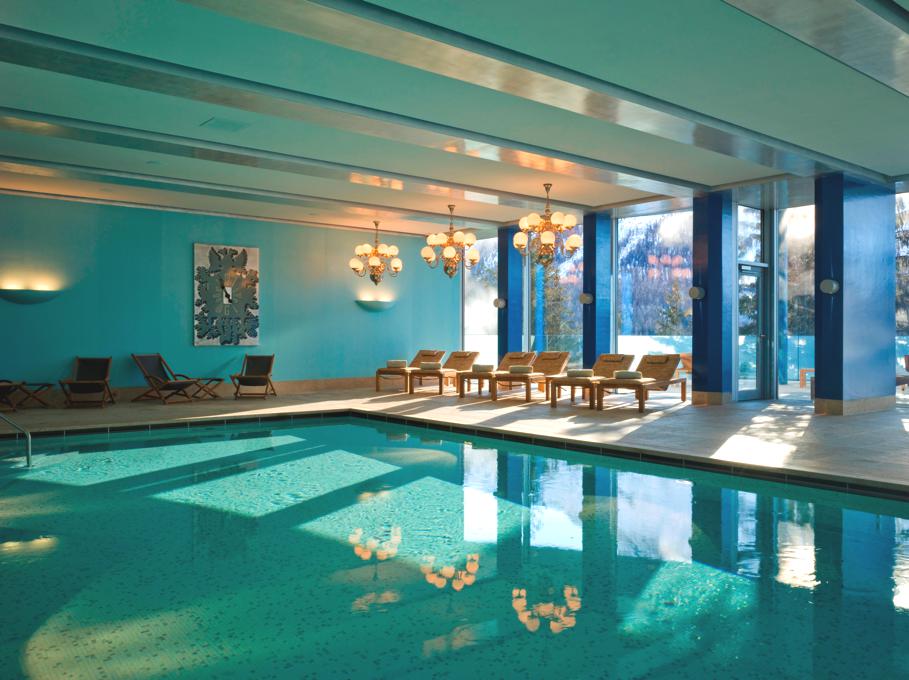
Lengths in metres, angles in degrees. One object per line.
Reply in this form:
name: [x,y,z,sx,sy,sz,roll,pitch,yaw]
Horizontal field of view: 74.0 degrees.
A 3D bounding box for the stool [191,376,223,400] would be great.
stool: [-5.005,0.933,12.331,0.866,0.472,0.433,1,-5,-31]
